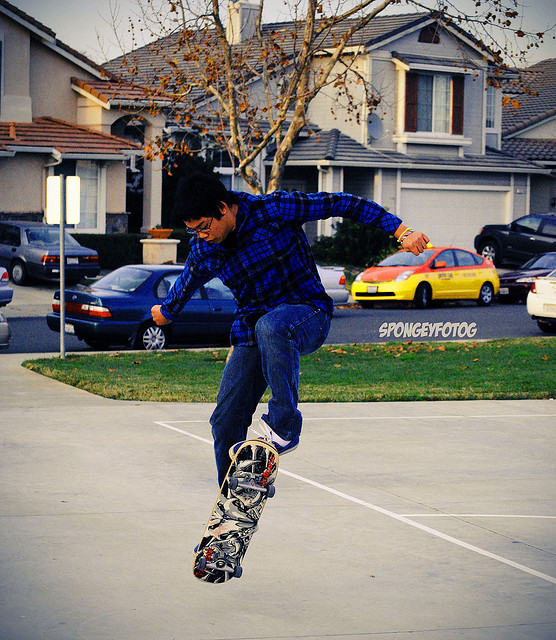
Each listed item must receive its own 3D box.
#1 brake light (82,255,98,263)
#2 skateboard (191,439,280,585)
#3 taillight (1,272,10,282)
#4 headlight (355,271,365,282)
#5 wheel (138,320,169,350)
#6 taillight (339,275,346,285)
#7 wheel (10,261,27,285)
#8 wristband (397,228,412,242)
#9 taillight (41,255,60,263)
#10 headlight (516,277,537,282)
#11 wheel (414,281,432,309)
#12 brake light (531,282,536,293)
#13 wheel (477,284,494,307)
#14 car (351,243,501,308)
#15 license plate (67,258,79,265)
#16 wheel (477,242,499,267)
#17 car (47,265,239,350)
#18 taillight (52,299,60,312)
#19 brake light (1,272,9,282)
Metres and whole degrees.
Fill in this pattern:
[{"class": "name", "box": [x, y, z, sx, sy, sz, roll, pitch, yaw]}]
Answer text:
[{"class": "brake light", "box": [-3.805, -1.234, 28.752, 0.061, 0.147, 0.498, 5, 7, 26]}, {"class": "skateboard", "box": [-0.264, 1.045, 7.943, 0.315, 0.978, 0.163, 21, 4, -19]}, {"class": "taillight", "box": [-4.600, -0.726, 23.907, 0.117, 0.096, 0.198, 0, 11, -3]}, {"class": "headlight", "box": [1.554, -0.838, 27.459, 0.178, 0.187, 0.597, 2, 6, 4]}, {"class": "wheel", "box": [-1.608, 0.174, 17.957, 0.133, 0.396, 0.406, 10, 7, 41]}, {"class": "taillight", "box": [1.183, -0.753, 25.875, 0.050, 0.179, 0.183, 15, -14, -39]}, {"class": "wheel", "box": [-5.336, -1.001, 29.255, 0.127, 0.381, 0.386, 4, 18, -40]}, {"class": "wristband", "box": [0.722, -0.492, 8.195, 0.018, 0.079, 0.075, 32, -41, -8]}, {"class": "taillight", "box": [-4.587, -1.233, 28.407, 0.294, 0.159, 0.186, 0, 6, -13]}, {"class": "headlight", "box": [4.811, -0.793, 27.637, 0.449, 0.117, 0.266, 1, 3, 8]}, {"class": "wheel", "box": [2.725, -0.508, 27.045, 0.147, 0.430, 0.435, 5, -12, 15]}, {"class": "brake light", "box": [3.943, -0.487, 22.044, 0.039, 0.102, 0.073, 3, 2, -11]}, {"class": "wheel", "box": [4.118, -0.524, 28.535, 0.122, 0.364, 0.371, 6, 20, 37]}, {"class": "car", "box": [2.848, -0.808, 27.737, 2.577, 0.992, 1.397, 1, -3, -41]}, {"class": "license plate", "box": [-4.060, -1.160, 27.901, 0.176, 0.126, 0.121, -4, 2, 5]}, {"class": "wheel", "box": [5.373, -1.695, 36.155, 0.377, 0.581, 0.964, -2, 7, -25]}, {"class": "car", "box": [-1.686, -0.287, 19.191, 2.882, 0.858, 1.236, -3, 6, -31]}, {"class": "taillight", "box": [-2.968, -0.210, 18.994, 0.117, 0.083, 0.188, 3, -4, -8]}, {"class": "brake light", "box": [-4.605, -0.734, 23.853, 0.172, 0.113, 0.300, 2, 4, -7]}]
